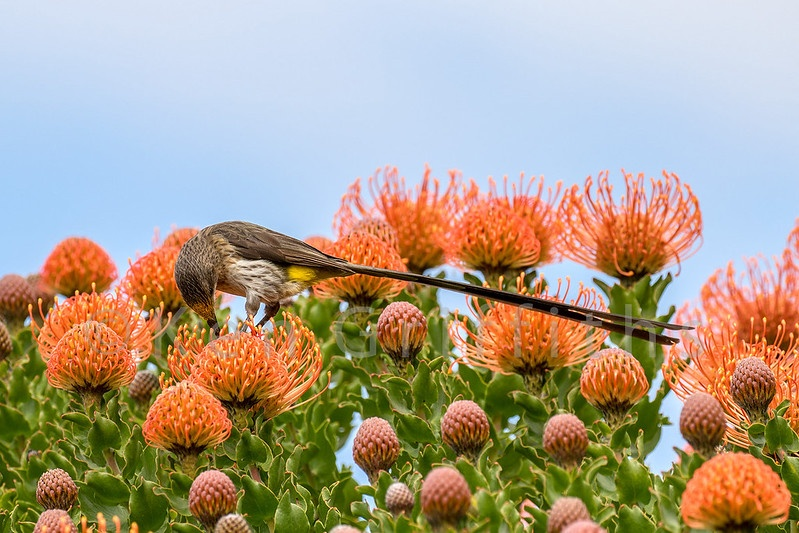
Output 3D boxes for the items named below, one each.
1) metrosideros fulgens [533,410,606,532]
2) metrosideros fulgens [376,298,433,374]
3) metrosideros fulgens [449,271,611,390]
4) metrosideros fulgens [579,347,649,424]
[{"bbox_3d":[0.921,1.136,6.177,0.244,0.614,0.254,-6,-17,6],"label":"metrosideros fulgens"},{"bbox_3d":[-0.002,0.399,7.294,0.335,0.566,0.364,-5,21,-9],"label":"metrosideros fulgens"},{"bbox_3d":[0.839,0.473,7.195,0.837,0.750,0.908,9,-9,-17],"label":"metrosideros fulgens"},{"bbox_3d":[1.274,0.684,6.992,0.371,0.558,0.428,-3,5,-4],"label":"metrosideros fulgens"}]
